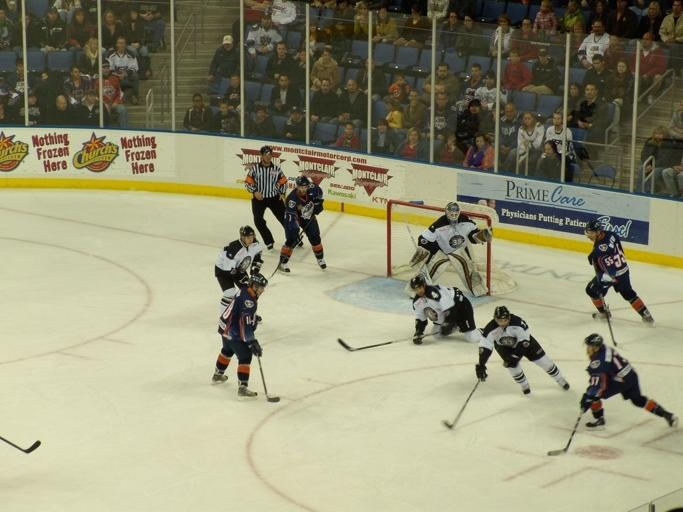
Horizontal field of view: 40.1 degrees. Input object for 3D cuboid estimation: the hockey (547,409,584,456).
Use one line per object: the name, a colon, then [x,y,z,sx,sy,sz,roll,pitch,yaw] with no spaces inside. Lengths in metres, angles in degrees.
hockey: [2.454,1.926,10.058,0.201,0.097,0.962,5,20,35]

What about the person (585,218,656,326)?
person: [3.739,0.253,12.803,0.852,1.536,0.715,-1,25,30]

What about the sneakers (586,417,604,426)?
sneakers: [2.820,1.860,10.411,0.222,0.089,0.087,-8,9,4]

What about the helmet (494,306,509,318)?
helmet: [1.824,0.649,10.670,0.128,0.143,0.142,1,51,1]

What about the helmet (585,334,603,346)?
helmet: [2.738,0.938,10.136,0.156,0.122,0.119,18,-33,-1]

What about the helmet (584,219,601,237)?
helmet: [3.429,-0.366,12.663,0.184,0.222,0.217,17,-25,28]

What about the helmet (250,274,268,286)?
helmet: [-0.966,0.287,10.890,0.178,0.162,0.149,-2,-1,-11]

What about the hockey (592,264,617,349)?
hockey: [3.518,0.694,12.557,0.090,1.135,0.166,-18,-16,4]

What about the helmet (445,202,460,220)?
helmet: [1.630,-0.644,13.748,0.209,0.255,0.283,5,10,5]

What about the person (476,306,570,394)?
person: [2.017,1.115,10.894,0.919,1.101,0.305,0,11,-19]

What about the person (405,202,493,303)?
person: [1.647,-0.085,13.972,1.147,1.334,1.015,2,18,9]

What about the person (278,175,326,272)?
person: [-0.581,-0.506,14.991,0.761,1.534,0.602,3,10,-2]

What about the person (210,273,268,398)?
person: [-1.223,0.929,11.030,0.568,1.451,0.915,2,10,-8]

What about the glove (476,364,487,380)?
glove: [1.624,1.360,10.879,0.137,0.176,0.073,1,7,-4]

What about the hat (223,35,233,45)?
hat: [-2.188,-4.136,17.896,0.145,0.103,0.191,5,19,7]

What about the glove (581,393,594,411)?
glove: [2.645,1.582,10.093,0.129,0.252,0.240,6,10,14]

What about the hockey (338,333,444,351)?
hockey: [0.670,1.164,12.409,1.251,0.179,0.129,-4,9,-27]

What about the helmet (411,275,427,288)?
helmet: [0.995,0.363,12.044,0.203,0.213,0.307,4,10,2]

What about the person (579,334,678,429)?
person: [3.040,1.415,10.239,1.016,1.076,0.359,1,11,-16]

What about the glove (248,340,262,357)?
glove: [-0.975,1.060,10.718,0.144,0.193,0.077,-22,6,31]

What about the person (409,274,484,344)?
person: [1.364,0.705,12.322,1.124,0.989,0.693,-12,7,-28]

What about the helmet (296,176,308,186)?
helmet: [-0.617,-1.164,14.661,0.217,0.135,0.190,4,10,1]
